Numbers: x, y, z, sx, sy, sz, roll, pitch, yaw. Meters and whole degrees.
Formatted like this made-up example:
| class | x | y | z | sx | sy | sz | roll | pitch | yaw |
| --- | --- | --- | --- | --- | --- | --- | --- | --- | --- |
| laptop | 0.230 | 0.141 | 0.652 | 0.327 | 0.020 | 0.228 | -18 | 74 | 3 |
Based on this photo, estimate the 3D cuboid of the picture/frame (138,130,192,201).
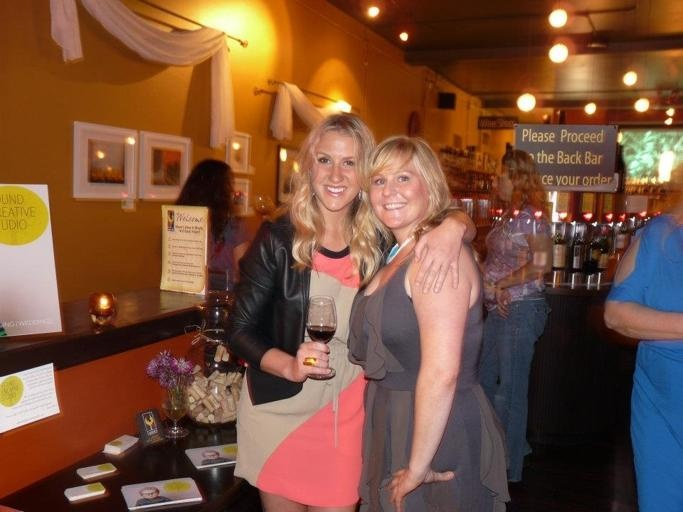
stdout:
| class | x | y | z | sx | sy | sz | roll | pitch | yaw |
| --- | --- | --- | --- | --- | --- | --- | --- | --- | --- |
| picture/frame | -1.791 | -0.908 | 5.116 | 0.051 | 0.708 | 0.679 | 11 | 12 | 25 |

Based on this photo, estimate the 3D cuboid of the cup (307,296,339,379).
| class | x | y | z | sx | sy | sz | roll | pitch | yaw |
| --- | --- | --- | --- | --- | --- | --- | --- | --- | --- |
| cup | -0.072 | 0.235 | 1.847 | 0.101 | 0.170 | 0.081 | -1 | 4 | -14 |

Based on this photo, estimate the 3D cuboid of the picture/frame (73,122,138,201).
| class | x | y | z | sx | sy | sz | roll | pitch | yaw |
| --- | --- | --- | --- | --- | --- | --- | --- | --- | --- |
| picture/frame | -2.141 | -0.862 | 4.476 | 0.053 | 0.773 | 0.740 | 5 | 5 | 33 |

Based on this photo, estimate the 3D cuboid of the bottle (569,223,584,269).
| class | x | y | z | sx | sy | sz | roll | pitch | yaw |
| --- | --- | --- | --- | --- | --- | --- | --- | --- | --- |
| bottle | 2.359 | -0.106 | 4.998 | 0.138 | 0.464 | 0.324 | 2 | 4 | 25 |

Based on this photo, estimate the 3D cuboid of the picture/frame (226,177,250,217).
| class | x | y | z | sx | sy | sz | roll | pitch | yaw |
| --- | --- | --- | --- | --- | --- | --- | --- | --- | --- |
| picture/frame | -1.278 | -0.708 | 6.022 | 0.059 | 0.496 | 0.562 | 9 | 9 | 26 |

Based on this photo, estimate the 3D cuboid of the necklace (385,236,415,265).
| class | x | y | z | sx | sy | sz | roll | pitch | yaw |
| --- | --- | --- | --- | --- | --- | --- | --- | --- | --- |
| necklace | 0.219 | -0.026 | 1.914 | 0.039 | 0.100 | 0.073 | 42 | 29 | 25 |

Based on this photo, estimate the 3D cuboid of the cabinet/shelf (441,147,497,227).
| class | x | y | z | sx | sy | sz | roll | pitch | yaw |
| --- | --- | --- | --- | --- | --- | --- | --- | --- | --- |
| cabinet/shelf | 3.255 | -1.656 | 11.800 | 0.375 | 1.451 | 2.372 | -10 | 15 | -9 |

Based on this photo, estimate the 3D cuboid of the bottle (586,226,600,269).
| class | x | y | z | sx | sy | sz | roll | pitch | yaw |
| --- | --- | --- | --- | --- | --- | --- | --- | --- | --- |
| bottle | 2.511 | -0.087 | 4.985 | 0.120 | 0.433 | 0.377 | 2 | 4 | 28 |

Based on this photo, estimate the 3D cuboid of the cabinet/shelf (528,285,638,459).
| class | x | y | z | sx | sy | sz | roll | pitch | yaw |
| --- | --- | --- | --- | --- | --- | --- | --- | --- | --- |
| cabinet/shelf | 2.425 | 1.030 | 4.648 | 1.161 | 1.321 | 1.198 | 1 | -9 | 18 |

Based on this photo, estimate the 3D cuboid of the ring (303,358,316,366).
| class | x | y | z | sx | sy | sz | roll | pitch | yaw |
| --- | --- | --- | --- | --- | --- | --- | --- | --- | --- |
| ring | -0.110 | 0.371 | 1.759 | 0.047 | 0.031 | 0.008 | 1 | 4 | 14 |
